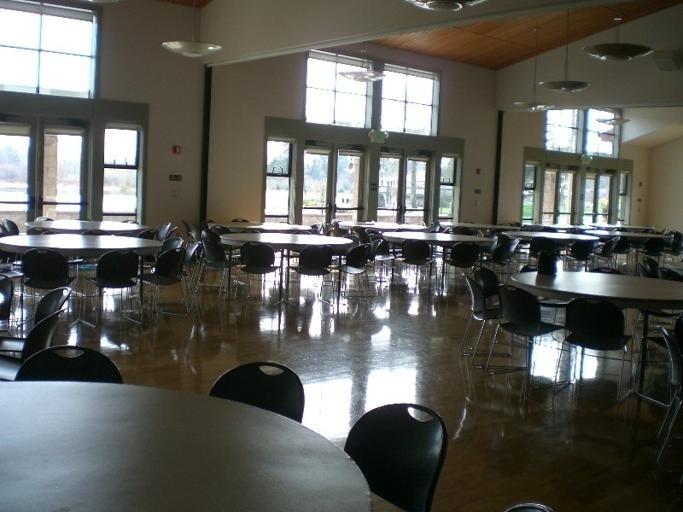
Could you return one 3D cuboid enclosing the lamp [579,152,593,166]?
[{"bbox_3d":[8.113,-3.207,18.221,0.402,0.297,0.413,-1,4,17],"label":"lamp"}]

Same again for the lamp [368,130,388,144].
[{"bbox_3d":[0.925,-2.966,13.706,0.418,0.294,0.294,0,8,-8],"label":"lamp"}]
